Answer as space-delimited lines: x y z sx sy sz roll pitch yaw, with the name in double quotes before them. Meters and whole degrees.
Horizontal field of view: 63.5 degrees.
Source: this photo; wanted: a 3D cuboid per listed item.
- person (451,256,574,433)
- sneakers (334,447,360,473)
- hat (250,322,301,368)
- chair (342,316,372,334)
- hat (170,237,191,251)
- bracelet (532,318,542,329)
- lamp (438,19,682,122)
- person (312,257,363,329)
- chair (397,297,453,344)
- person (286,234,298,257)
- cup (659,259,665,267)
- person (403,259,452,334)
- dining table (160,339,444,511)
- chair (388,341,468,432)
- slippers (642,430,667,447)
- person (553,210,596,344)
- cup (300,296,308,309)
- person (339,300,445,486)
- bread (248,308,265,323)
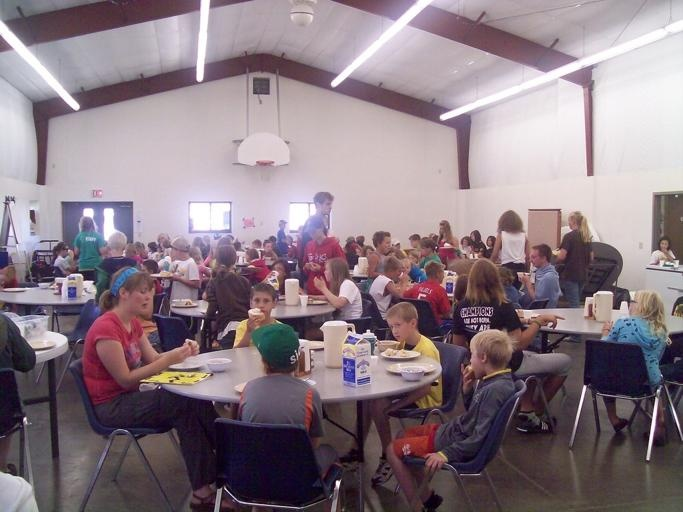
"person" 1.386 0.709 4.482 0.861 1.374 0.684 -5 2 -13
"sneakers" 0.052 1.402 3.773 0.204 0.309 0.079 1 29 -2
"hat" -0.335 0.480 2.943 0.171 0.154 0.263 -7 38 -19
"chair" 0.147 0.576 4.862 0.185 0.239 0.236 0 -4 3
"hat" -1.957 -0.130 6.923 0.160 0.128 0.222 16 14 33
"bracelet" 1.540 0.531 4.363 0.061 0.053 0.066 -5 10 -1
"lamp" 4.001 -3.277 9.920 1.574 0.652 5.670 -1 1 -16
"person" -0.017 0.398 5.332 0.382 0.748 0.406 -11 12 -19
"chair" 0.849 0.585 5.545 0.345 0.661 0.454 1 14 38
"person" -1.121 -0.223 12.296 0.301 0.311 1.036 14 14 -9
"cup" 4.814 0.106 8.287 0.070 0.069 0.550 0 2 30
"person" 0.960 0.409 5.612 0.492 0.741 0.446 0 21 42
"dining table" -0.222 1.004 3.263 1.085 0.737 1.134 -1 0 -2
"chair" 0.536 0.892 4.055 0.575 0.843 0.483 3 -1 -26
"slippers" 2.452 1.436 4.341 0.173 0.120 0.057 -5 2 34
"person" 3.002 0.162 7.273 0.433 1.523 0.480 6 13 36
"cup" -0.366 0.433 5.337 0.079 0.089 0.083 -1 -6 0
"person" 0.428 0.937 3.947 0.703 1.191 0.620 -4 3 24
"bread" -0.586 0.403 3.809 0.096 0.082 0.216 -1 1 -8
